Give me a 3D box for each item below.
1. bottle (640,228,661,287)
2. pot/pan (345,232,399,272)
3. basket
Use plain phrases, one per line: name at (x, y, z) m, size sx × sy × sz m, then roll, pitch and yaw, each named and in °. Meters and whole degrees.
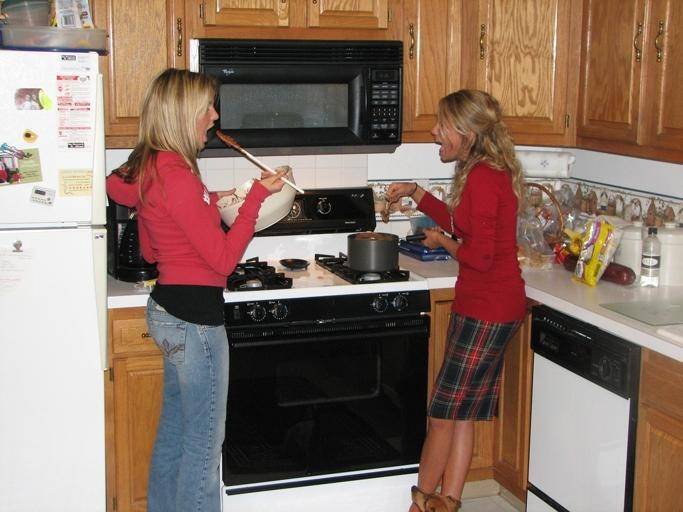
bottle at (1.293, -0.002, 2.340) m, size 0.076 × 0.241 × 0.099 m, roll 6°, pitch 13°, yaw 28°
pot/pan at (0.146, -0.022, 2.544) m, size 0.239 × 0.146 × 0.241 m, roll -1°, pitch 7°, yaw 10°
basket at (0.942, -0.135, 2.708) m, size 0.280 × 0.382 × 0.222 m, roll -7°, pitch 3°, yaw -19°
